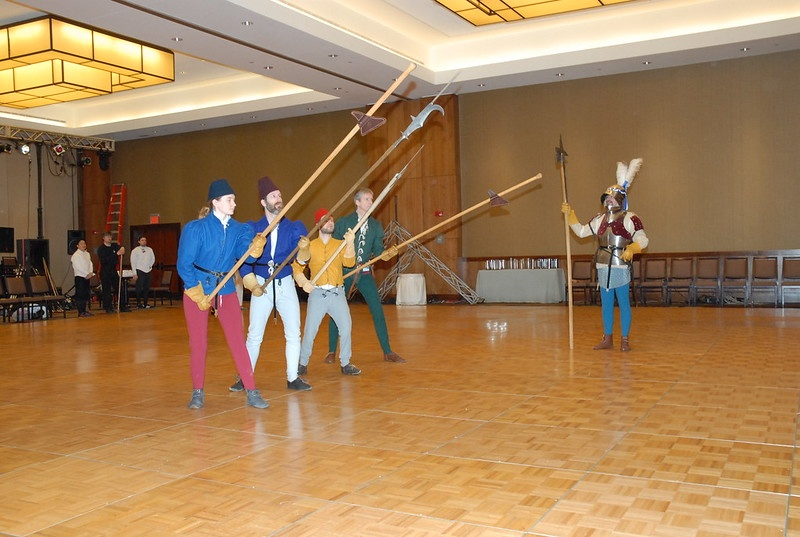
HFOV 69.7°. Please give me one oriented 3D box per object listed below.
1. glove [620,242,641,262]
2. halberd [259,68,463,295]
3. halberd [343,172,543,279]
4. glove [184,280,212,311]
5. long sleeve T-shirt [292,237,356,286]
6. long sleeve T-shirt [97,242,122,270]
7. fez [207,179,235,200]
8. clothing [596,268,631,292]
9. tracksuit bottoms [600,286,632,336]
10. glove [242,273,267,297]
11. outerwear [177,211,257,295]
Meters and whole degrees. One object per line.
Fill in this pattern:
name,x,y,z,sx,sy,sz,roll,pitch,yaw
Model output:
glove,2.862,-0.200,7.097,0.297,0.243,0.162,-4,4,-39
halberd,-0.477,-1.959,11.827,1.226,7.308,0.265,46,11,30
halberd,1.286,-0.896,12.732,4.190,0.219,0.859,-30,42,-4
glove,-1.704,0.229,4.819,0.196,0.235,0.097,-35,5,-8
long sleeve T-shirt,-0.743,-0.062,5.756,0.516,0.520,0.220,3,2,-1
long sleeve T-shirt,-6.902,-0.278,13.639,0.481,0.646,0.433,-3,4,-28
fez,-1.593,-0.694,5.102,0.189,0.200,0.410,-3,3,-17
clothing,2.689,0.195,7.211,0.436,0.312,0.267,-1,-3,30
tracksuit bottoms,2.697,0.415,7.202,0.345,1.253,0.273,-5,40,20
glove,-1.311,0.142,5.185,0.147,0.243,0.104,-35,-33,-6
outerwear,-1.588,-0.131,5.003,0.653,0.711,0.157,-4,4,-36
